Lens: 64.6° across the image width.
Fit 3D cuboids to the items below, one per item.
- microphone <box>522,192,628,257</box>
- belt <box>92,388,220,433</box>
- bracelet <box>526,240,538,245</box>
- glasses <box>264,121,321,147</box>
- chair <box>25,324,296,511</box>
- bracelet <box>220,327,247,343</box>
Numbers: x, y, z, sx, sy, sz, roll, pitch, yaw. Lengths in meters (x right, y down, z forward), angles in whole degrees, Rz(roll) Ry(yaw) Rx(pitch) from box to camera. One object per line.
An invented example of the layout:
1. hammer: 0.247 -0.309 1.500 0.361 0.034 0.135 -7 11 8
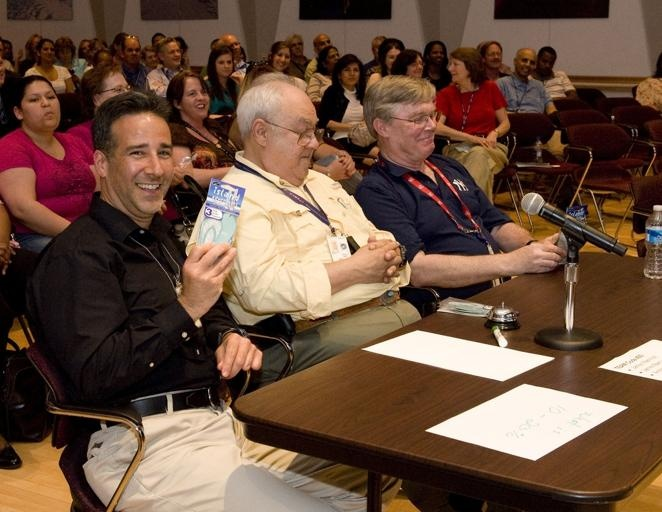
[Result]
1. microphone: 0.763 -0.098 1.627 0.212 0.214 0.336 11 18 43
2. belt: -0.522 0.450 1.510 0.204 0.043 0.198 -8 -3 -7
3. bracelet: 1.008 -0.070 2.601 0.047 0.030 0.043 2 7 8
4. glasses: -0.163 -0.535 2.260 0.137 0.037 0.130 23 17 20
5. chair: -0.498 0.421 1.633 0.444 0.524 0.447 -3 8 28
6. bracelet: -0.328 0.258 1.741 0.057 0.018 0.053 -15 6 -3
